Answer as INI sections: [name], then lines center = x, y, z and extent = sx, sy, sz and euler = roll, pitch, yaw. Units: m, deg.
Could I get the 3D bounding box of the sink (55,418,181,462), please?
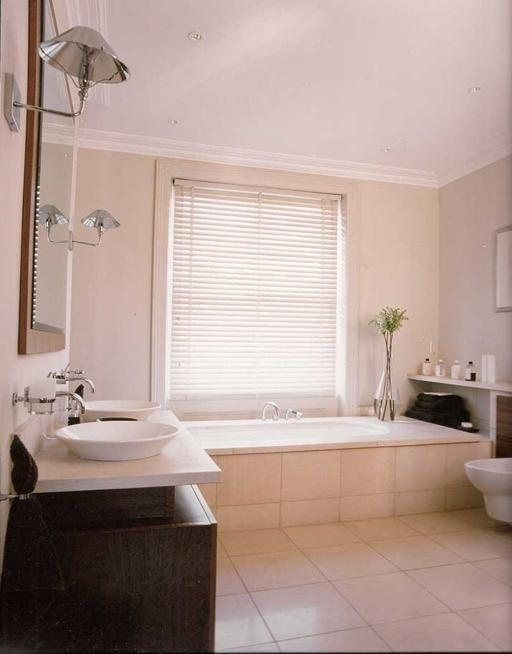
[sink]
center = -0.406, 0.324, 1.553
extent = 0.329, 0.099, 0.420
euler = 1, 0, -18

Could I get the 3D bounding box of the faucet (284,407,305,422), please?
[faucet]
center = 0.263, 0.616, 3.800
extent = 0.191, 0.112, 0.064
euler = -2, 1, -3

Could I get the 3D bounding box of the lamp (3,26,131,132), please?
[lamp]
center = -0.438, -0.612, 1.302
extent = 0.307, 0.243, 0.244
euler = 2, 10, -32

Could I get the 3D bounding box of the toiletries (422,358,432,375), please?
[toiletries]
center = 1.331, 0.303, 4.140
extent = 0.110, 0.165, 0.057
euler = 3, -6, -27

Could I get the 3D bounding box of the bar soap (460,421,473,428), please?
[bar soap]
center = 1.423, 0.648, 3.582
extent = 0.048, 0.036, 0.069
euler = 0, -3, 4

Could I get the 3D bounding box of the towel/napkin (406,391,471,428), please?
[towel/napkin]
center = 1.335, 0.579, 3.800
extent = 0.244, 0.135, 0.268
euler = 0, -1, -7

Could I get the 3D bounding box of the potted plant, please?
[potted plant]
center = 0.992, 0.247, 4.011
extent = 0.286, 0.602, 0.478
euler = 1, 0, 15
